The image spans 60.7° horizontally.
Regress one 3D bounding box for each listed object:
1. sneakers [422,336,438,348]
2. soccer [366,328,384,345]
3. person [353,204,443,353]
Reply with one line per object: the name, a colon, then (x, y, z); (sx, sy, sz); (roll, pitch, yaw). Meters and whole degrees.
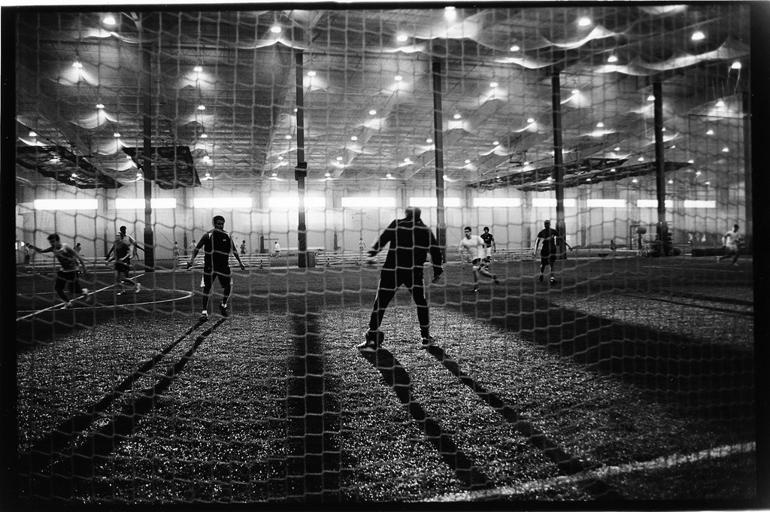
sneakers: (0.607, 1.244, 9.584); (0.179, 0.078, 0.228); (3, 0, 12)
soccer: (-0.155, 1.175, 9.497); (0.228, 0.227, 0.246); (4, 5, -13)
person: (0.233, 0.335, 9.494); (1.198, 2.037, 0.741); (-1, 2, 5)
